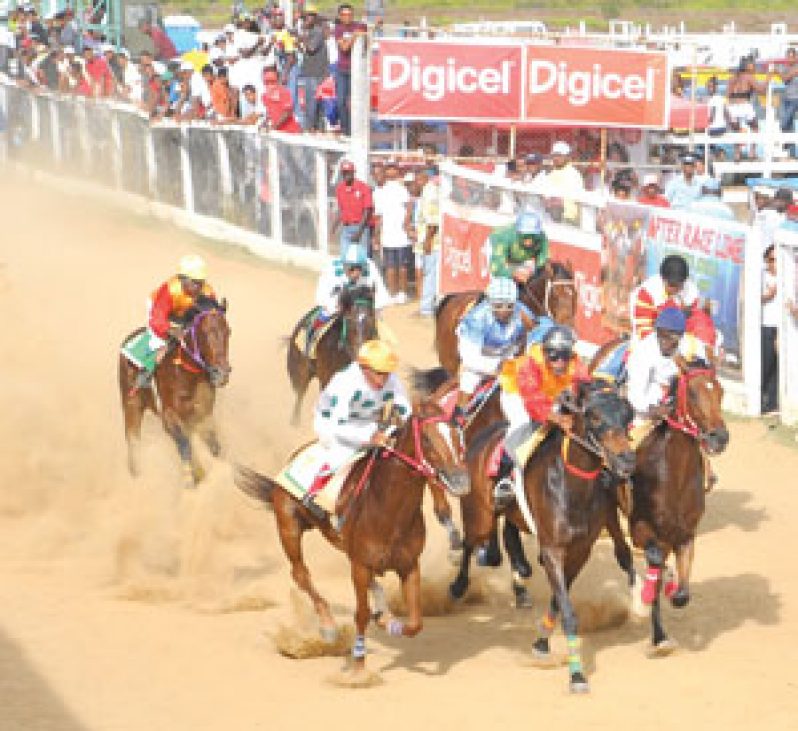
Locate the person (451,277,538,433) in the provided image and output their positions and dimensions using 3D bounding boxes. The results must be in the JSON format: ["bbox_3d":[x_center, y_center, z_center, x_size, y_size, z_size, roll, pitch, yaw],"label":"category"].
[{"bbox_3d":[0.875,-0.084,10.876,0.573,1.494,1.243,-5,57,-11],"label":"person"}]

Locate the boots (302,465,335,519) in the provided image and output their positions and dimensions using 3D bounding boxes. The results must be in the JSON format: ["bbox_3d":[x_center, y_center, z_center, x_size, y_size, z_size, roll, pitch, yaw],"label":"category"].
[{"bbox_3d":[-0.615,0.946,9.314,0.100,0.403,0.258,19,1,-34],"label":"boots"}]

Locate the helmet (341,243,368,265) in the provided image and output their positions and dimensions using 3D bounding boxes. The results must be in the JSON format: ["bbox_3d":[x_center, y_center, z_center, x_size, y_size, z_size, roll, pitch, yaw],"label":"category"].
[{"bbox_3d":[-0.457,-1.138,12.333,0.256,0.212,0.307,0,13,-2],"label":"helmet"}]

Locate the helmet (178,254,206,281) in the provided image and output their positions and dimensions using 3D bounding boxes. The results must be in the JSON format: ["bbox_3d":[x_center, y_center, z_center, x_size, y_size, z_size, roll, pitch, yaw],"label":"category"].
[{"bbox_3d":[-2.056,-0.973,12.066,0.239,0.230,0.289,-4,13,-17],"label":"helmet"}]

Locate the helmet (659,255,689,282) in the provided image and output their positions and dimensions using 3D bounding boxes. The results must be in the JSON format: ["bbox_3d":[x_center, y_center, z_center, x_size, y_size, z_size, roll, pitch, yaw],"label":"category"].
[{"bbox_3d":[2.359,-0.856,10.383,0.164,0.260,0.231,-2,-15,1],"label":"helmet"}]

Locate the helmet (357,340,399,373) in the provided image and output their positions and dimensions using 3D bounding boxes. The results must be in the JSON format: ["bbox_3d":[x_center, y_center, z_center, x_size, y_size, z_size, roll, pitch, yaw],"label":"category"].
[{"bbox_3d":[-0.167,-0.065,8.937,0.280,0.261,0.381,0,13,-3],"label":"helmet"}]

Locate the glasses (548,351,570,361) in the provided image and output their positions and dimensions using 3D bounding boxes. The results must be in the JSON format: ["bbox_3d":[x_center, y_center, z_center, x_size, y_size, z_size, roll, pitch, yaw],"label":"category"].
[{"bbox_3d":[1.201,-0.078,9.079,0.162,0.086,0.133,1,13,3],"label":"glasses"}]

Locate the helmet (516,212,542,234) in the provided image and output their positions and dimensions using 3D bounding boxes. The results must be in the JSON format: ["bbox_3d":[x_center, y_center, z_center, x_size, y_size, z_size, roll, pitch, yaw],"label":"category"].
[{"bbox_3d":[1.298,-1.423,12.090,0.164,0.212,0.251,0,34,-12],"label":"helmet"}]

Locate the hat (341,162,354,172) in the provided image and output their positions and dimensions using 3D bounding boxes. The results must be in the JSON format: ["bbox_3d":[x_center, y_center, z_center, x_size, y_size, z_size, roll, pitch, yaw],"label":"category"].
[{"bbox_3d":[-0.772,-3.041,18.412,0.186,0.114,0.321,0,11,4],"label":"hat"}]

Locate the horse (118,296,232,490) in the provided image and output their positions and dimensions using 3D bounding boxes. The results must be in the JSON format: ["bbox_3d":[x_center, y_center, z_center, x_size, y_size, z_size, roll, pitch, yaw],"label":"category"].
[{"bbox_3d":[-2.222,0.213,12.378,1.464,1.942,0.510,9,14,35],"label":"horse"}]

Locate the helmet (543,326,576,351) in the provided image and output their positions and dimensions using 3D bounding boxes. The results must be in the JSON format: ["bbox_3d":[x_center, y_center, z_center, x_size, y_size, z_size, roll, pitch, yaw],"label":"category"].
[{"bbox_3d":[1.191,-0.211,9.051,0.227,0.195,0.183,2,13,7],"label":"helmet"}]

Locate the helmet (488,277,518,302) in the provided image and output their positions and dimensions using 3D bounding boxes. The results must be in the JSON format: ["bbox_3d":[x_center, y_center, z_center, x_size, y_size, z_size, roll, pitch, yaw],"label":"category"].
[{"bbox_3d":[0.918,-0.683,10.800,0.171,0.228,0.238,1,-4,-3],"label":"helmet"}]

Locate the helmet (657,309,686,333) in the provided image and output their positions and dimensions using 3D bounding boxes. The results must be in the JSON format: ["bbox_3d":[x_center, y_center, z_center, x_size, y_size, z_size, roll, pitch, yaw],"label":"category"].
[{"bbox_3d":[2.100,-0.345,9.395,0.140,0.173,0.214,9,41,6],"label":"helmet"}]

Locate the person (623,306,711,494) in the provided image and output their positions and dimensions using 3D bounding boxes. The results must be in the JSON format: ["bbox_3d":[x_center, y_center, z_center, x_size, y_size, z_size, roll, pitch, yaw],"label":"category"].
[{"bbox_3d":[2.206,0.111,9.873,0.454,1.575,1.151,-7,36,11],"label":"person"}]

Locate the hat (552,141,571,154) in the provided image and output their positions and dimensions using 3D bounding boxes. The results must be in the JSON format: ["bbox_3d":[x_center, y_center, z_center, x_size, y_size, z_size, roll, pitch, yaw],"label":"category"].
[{"bbox_3d":[2.421,-3.265,18.114,0.228,0.181,0.347,2,26,8],"label":"hat"}]

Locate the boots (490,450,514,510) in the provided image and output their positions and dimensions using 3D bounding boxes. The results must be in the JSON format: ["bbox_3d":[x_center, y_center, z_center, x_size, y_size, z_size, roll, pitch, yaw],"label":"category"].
[{"bbox_3d":[0.778,0.864,9.786,0.252,0.454,0.148,0,3,0],"label":"boots"}]

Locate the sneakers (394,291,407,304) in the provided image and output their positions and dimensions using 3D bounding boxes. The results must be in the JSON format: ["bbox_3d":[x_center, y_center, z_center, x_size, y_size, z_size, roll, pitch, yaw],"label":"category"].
[{"bbox_3d":[0.030,-1.156,20.118,0.116,0.168,0.223,0,-6,-3],"label":"sneakers"}]
